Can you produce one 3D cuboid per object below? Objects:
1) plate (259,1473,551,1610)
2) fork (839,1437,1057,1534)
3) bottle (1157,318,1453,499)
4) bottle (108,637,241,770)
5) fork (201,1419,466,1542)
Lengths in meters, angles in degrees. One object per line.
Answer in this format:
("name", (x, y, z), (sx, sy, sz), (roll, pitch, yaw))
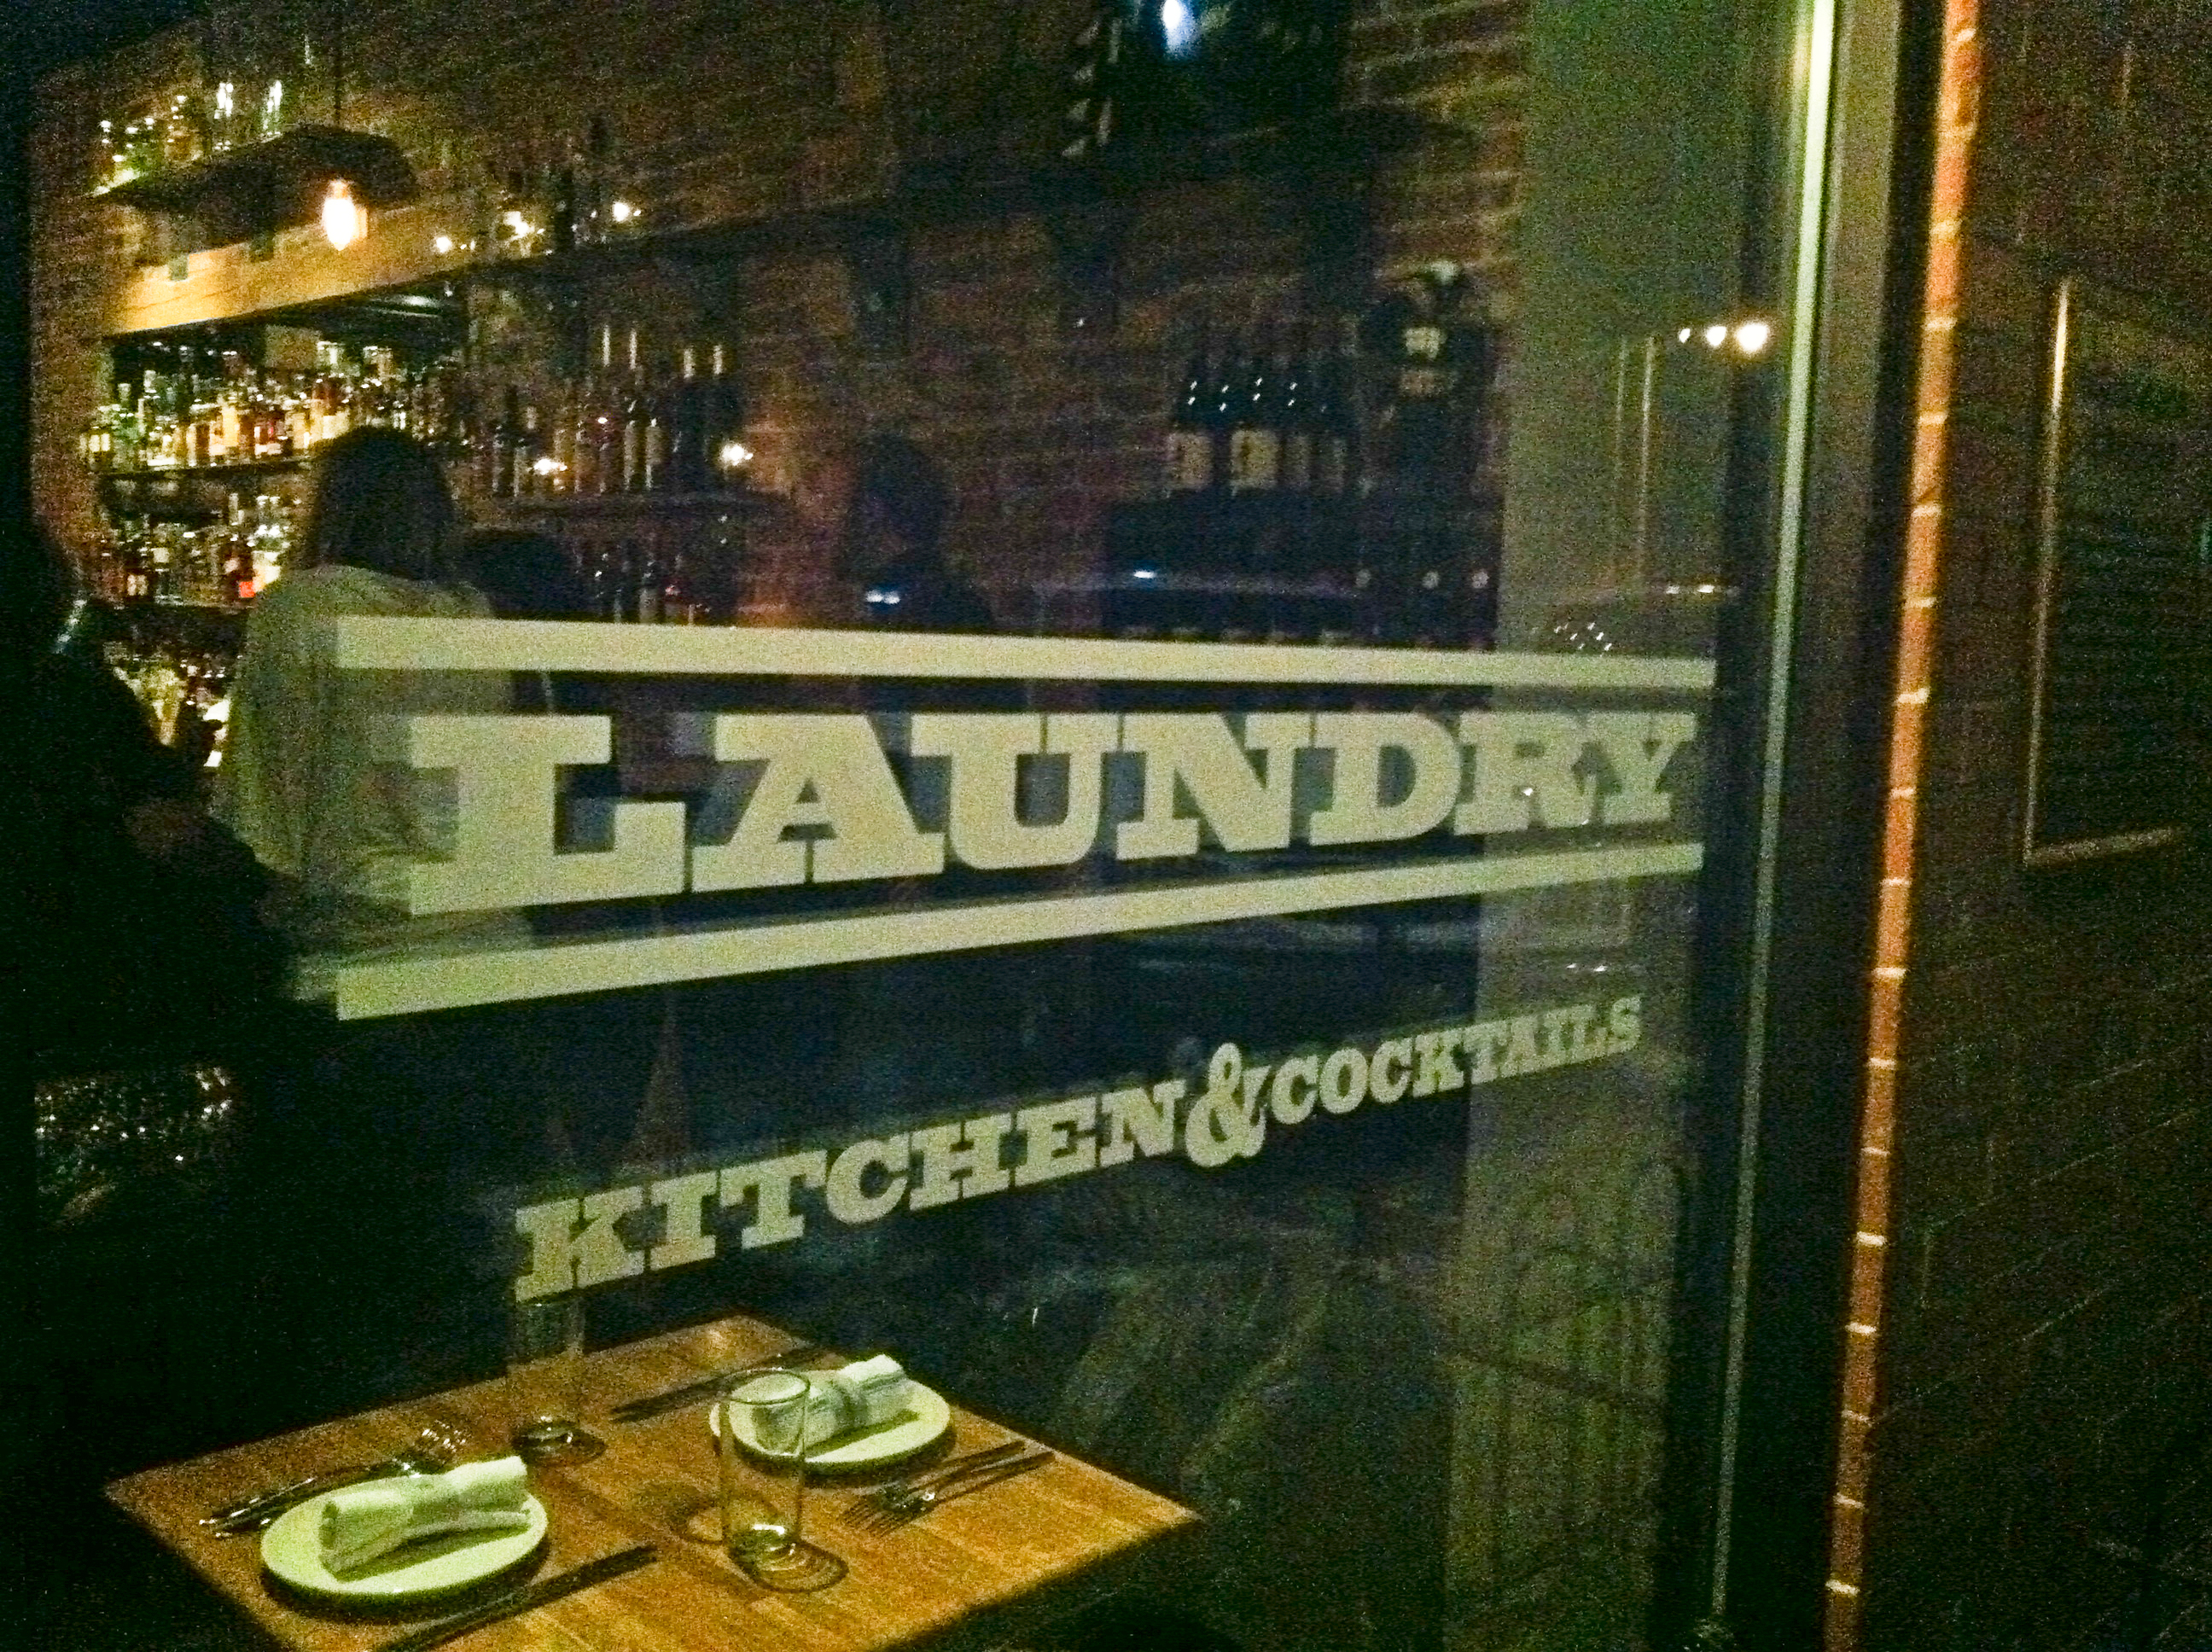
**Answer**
("plate", (-0.526, 0.538, 1.547), (0.190, 0.058, 0.194), (-6, 6, -44))
("fork", (-0.138, 0.569, 1.718), (0.205, 0.019, 0.054), (-9, 21, -42))
("bottle", (0.190, -0.397, 1.945), (0.349, 0.152, 0.033), (-14, 13, -39))
("bottle", (-0.686, -0.093, 1.455), (0.100, 0.092, 0.023), (2, 3, -29))
("fork", (-0.598, 0.507, 1.555), (0.059, 0.039, 0.197), (22, 20, 36))
